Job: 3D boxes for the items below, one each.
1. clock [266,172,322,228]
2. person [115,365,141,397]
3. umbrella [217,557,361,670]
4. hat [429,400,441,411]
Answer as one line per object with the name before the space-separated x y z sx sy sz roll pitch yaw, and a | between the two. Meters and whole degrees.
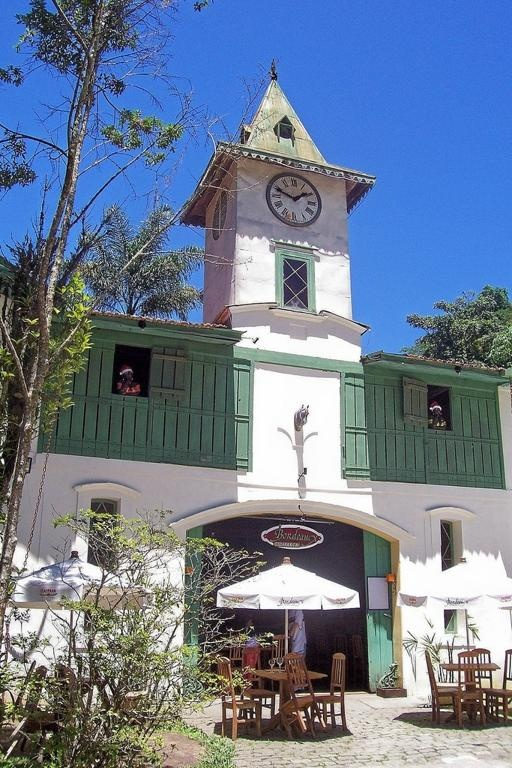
clock | 0.968 -4.991 17.050 1.522 1.463 0.096 12 -11 -28
person | -2.782 -0.008 13.596 0.536 0.726 0.300 -2 -9 -4
umbrella | 0.341 3.400 9.968 1.921 1.468 1.958 7 -30 -21
hat | 4.735 0.618 16.580 0.232 0.197 0.327 3 -29 -19
